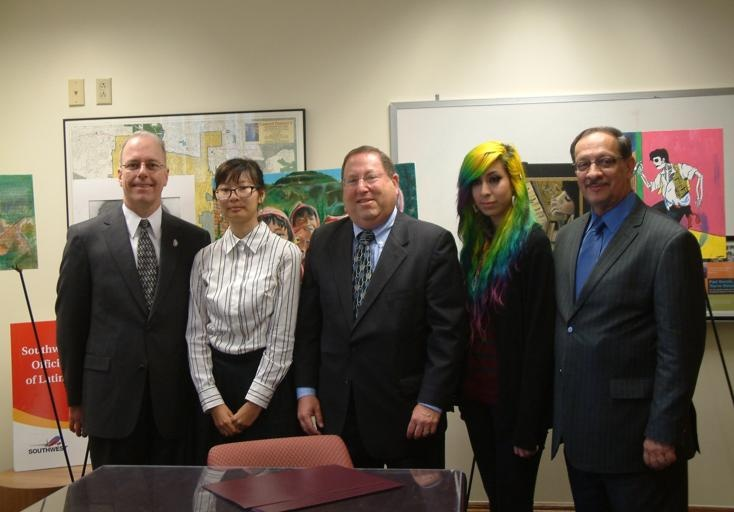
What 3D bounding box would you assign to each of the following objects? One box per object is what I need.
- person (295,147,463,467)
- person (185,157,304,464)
[{"bbox_3d":[0.062,0.292,3.023,0.935,1.695,0.570,2,13,11],"label":"person"},{"bbox_3d":[-0.695,0.282,3.139,0.650,1.598,0.562,-2,13,-7],"label":"person"}]
